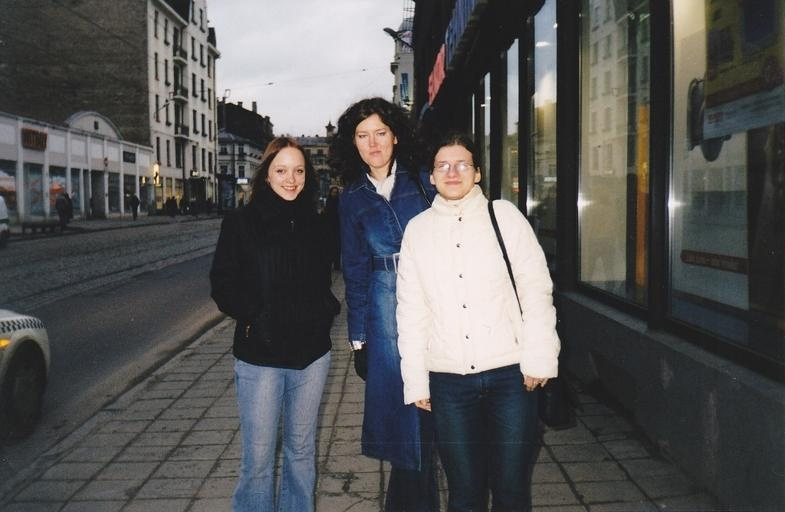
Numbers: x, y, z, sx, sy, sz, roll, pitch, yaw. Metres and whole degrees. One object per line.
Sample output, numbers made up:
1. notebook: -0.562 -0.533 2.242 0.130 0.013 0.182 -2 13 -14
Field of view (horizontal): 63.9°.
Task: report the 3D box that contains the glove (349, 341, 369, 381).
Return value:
1. glove: -0.262 0.814 5.016 0.197 0.291 0.102 -3 7 -11
